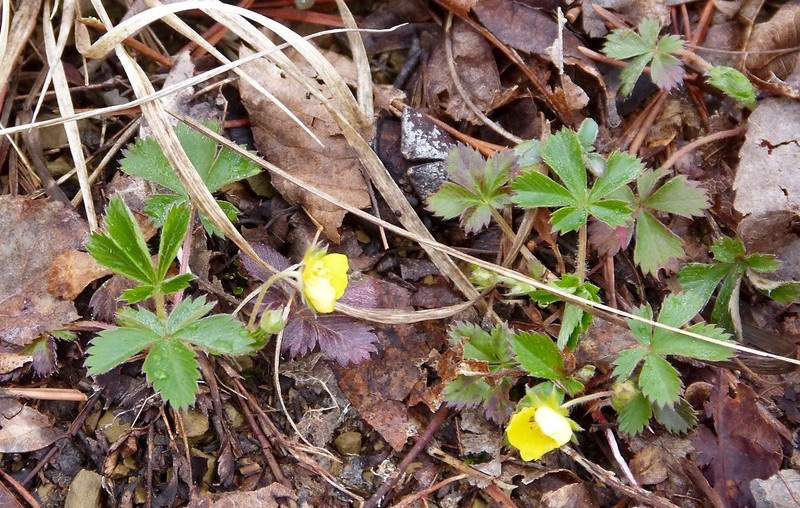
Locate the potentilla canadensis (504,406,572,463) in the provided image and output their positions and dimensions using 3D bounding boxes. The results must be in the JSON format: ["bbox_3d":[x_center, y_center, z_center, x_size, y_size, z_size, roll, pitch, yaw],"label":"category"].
[{"bbox_3d":[0.642,0.821,3.086,0.275,0.111,0.274,9,103,16],"label":"potentilla canadensis"}]

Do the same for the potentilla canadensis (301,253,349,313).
[{"bbox_3d":[-0.345,0.132,3.065,0.124,0.266,0.245,2,39,35],"label":"potentilla canadensis"}]
